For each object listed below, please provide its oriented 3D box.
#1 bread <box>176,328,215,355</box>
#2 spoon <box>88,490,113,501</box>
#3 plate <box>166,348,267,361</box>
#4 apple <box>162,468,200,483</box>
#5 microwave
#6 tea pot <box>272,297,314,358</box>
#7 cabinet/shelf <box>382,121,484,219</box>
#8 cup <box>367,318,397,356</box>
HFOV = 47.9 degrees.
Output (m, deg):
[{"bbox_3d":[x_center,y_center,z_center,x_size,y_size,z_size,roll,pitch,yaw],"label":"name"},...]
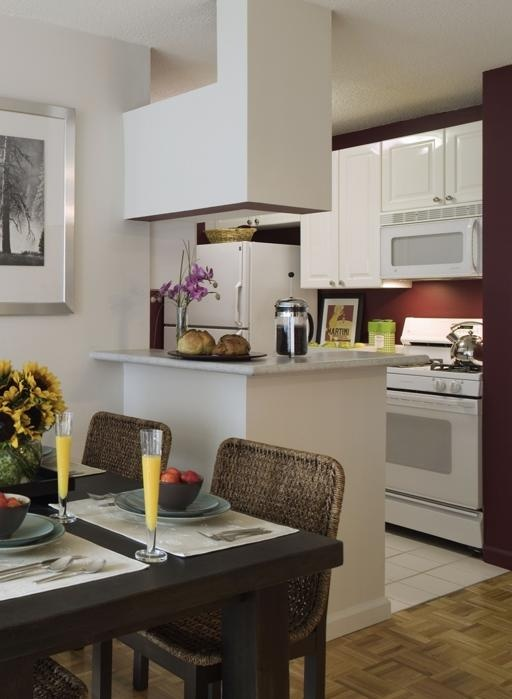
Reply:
[{"bbox_3d":[-0.220,-0.020,2.224,0.110,0.068,0.110,3,-1,29],"label":"bread"},{"bbox_3d":[-0.336,0.323,1.273,0.024,0.011,0.033,-3,-6,38],"label":"spoon"},{"bbox_3d":[-0.176,0.031,2.226,0.411,0.040,0.316,1,-1,6],"label":"plate"},{"bbox_3d":[-0.141,0.238,1.088,0.045,0.020,0.033,5,-1,-7],"label":"apple"},{"bbox_3d":[1.114,-0.667,3.679,0.444,0.481,0.724,-3,5,-39],"label":"microwave"},{"bbox_3d":[0.160,-0.090,2.387,0.152,0.245,0.205,1,-1,5],"label":"tea pot"},{"bbox_3d":[1.102,-1.139,3.661,0.454,0.505,0.752,-4,5,-43],"label":"cabinet/shelf"},{"bbox_3d":[0.926,-0.097,4.300,0.207,0.217,0.163,1,-1,27],"label":"cup"}]
